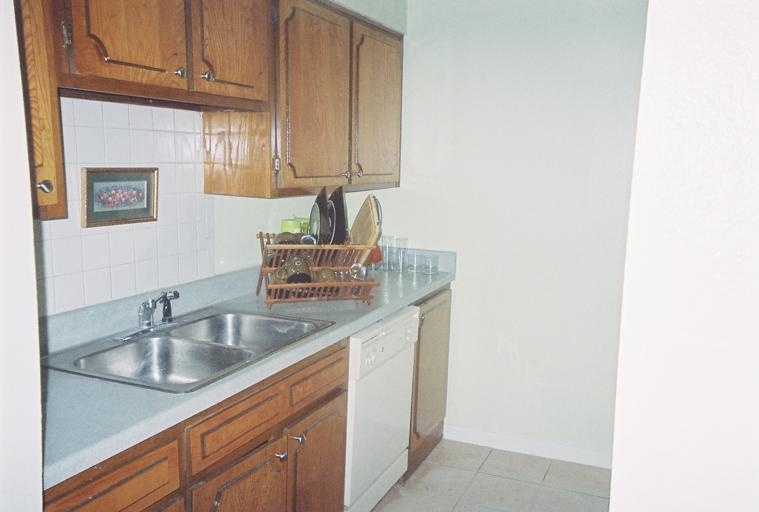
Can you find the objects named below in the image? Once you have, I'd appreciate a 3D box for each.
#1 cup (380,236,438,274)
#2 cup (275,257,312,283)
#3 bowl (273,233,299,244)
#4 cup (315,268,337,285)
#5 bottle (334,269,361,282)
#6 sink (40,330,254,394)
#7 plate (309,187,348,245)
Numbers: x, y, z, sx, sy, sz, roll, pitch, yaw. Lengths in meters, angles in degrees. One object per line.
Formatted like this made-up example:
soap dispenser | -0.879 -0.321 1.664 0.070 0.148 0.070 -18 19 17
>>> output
cup | 0.130 0.000 3.032 0.305 0.174 0.158 3 7 30
cup | -0.335 0.060 2.233 0.122 0.067 0.095 -23 -41 40
bowl | -0.372 -0.071 2.377 0.132 0.044 0.071 -2 15 -39
cup | -0.213 0.078 2.286 0.079 0.049 0.053 7 12 -4
bottle | -0.129 0.077 2.376 0.073 0.027 0.055 -10 13 -28
sink | -0.706 0.314 1.708 0.251 0.107 0.303 11 9 24
plate | -0.208 -0.168 2.455 0.063 0.239 0.187 1 38 -25
